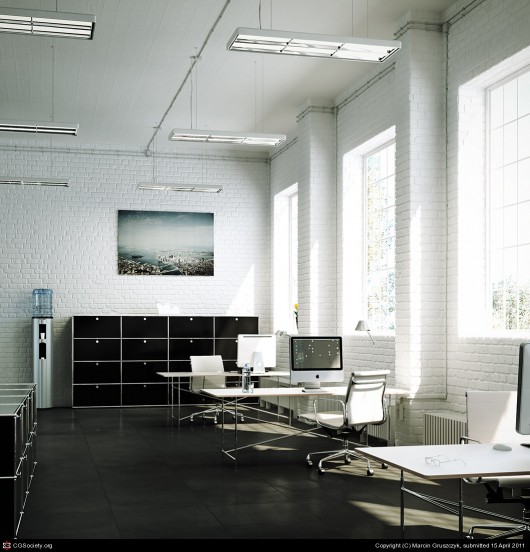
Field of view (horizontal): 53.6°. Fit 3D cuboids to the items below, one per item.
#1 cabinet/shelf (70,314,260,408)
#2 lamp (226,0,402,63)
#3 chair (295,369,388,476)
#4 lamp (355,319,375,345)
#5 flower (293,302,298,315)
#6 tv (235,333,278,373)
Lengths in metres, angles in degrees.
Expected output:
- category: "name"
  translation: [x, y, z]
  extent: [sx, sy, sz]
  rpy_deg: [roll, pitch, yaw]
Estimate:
- category: "cabinet/shelf"
  translation: [-1.737, 1.543, 9.704]
  extent: [3.435, 1.594, 0.494]
  rpy_deg: [-2, -4, 9]
- category: "lamp"
  translation: [0.343, -1.677, 3.840]
  extent: [1.214, 0.112, 0.360]
  rpy_deg: [1, -3, -12]
- category: "chair"
  translation: [0.772, 1.393, 5.141]
  extent: [0.784, 0.940, 0.782]
  rpy_deg: [8, -10, -36]
- category: "lamp"
  translation: [1.317, 0.748, 6.935]
  extent: [0.248, 0.334, 0.733]
  rpy_deg: [0, -3, 12]
- category: "flower"
  translation: [0.576, 0.630, 10.007]
  extent: [0.075, 0.184, 0.074]
  rpy_deg: [-10, -36, 26]
- category: "tv"
  translation: [-0.103, 1.004, 6.939]
  extent: [0.565, 0.475, 0.244]
  rpy_deg: [6, -8, -26]
